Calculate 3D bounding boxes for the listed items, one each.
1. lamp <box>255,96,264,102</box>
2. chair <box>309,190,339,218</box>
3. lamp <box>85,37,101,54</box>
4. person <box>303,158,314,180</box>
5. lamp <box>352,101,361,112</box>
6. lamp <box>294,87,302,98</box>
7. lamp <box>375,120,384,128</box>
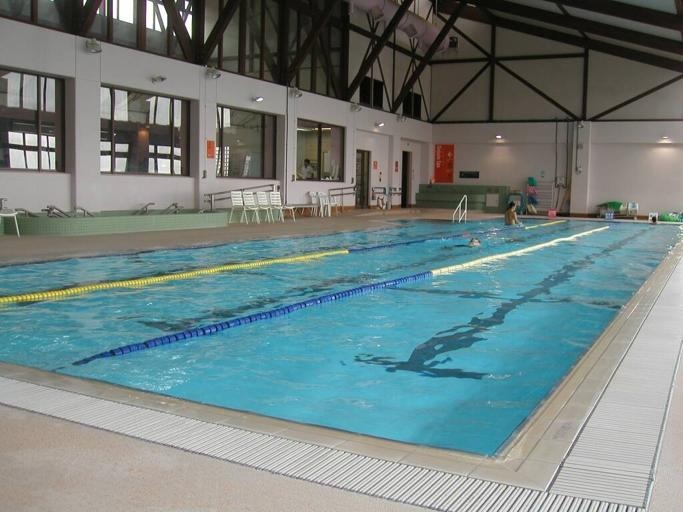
[{"bbox_3d":[-2.630,-5.025,15.000,0.221,0.056,0.155,-5,3,-18],"label":"lamp"},{"bbox_3d":[-0.815,-1.995,18.019,1.016,1.371,1.030,-3,0,-44],"label":"chair"},{"bbox_3d":[-5.611,-4.801,10.656,0.292,0.210,0.289,-10,-23,-1],"label":"lamp"},{"bbox_3d":[-1.266,-3.387,17.912,0.129,0.731,0.533,5,9,37],"label":"person"},{"bbox_3d":[0.612,-6.180,19.468,0.235,0.312,0.733,2,8,20],"label":"lamp"},{"bbox_3d":[-1.539,-5.705,16.386,0.245,0.225,0.186,-11,17,-37],"label":"lamp"},{"bbox_3d":[1.739,-5.958,21.082,0.225,0.318,0.630,3,8,26],"label":"lamp"}]
